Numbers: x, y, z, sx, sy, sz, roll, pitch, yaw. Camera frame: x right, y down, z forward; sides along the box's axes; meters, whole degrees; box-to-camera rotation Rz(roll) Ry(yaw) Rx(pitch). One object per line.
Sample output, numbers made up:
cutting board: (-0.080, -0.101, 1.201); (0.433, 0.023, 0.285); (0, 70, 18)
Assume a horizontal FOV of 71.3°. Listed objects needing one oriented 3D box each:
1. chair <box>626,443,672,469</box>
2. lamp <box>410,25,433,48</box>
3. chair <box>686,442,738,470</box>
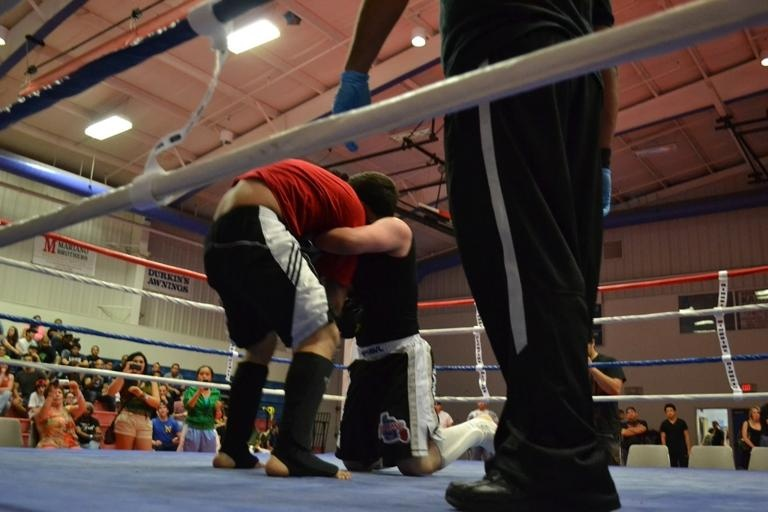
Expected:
chair: (2.400, 1.823, 4.911); (0.344, 0.171, 0.217); (-13, -24, 36)
lamp: (0.554, -3.389, 8.337); (0.299, 0.300, 0.319); (0, -14, 3)
chair: (2.723, 1.682, 4.500); (0.324, 0.166, 0.301); (-13, -24, 36)
